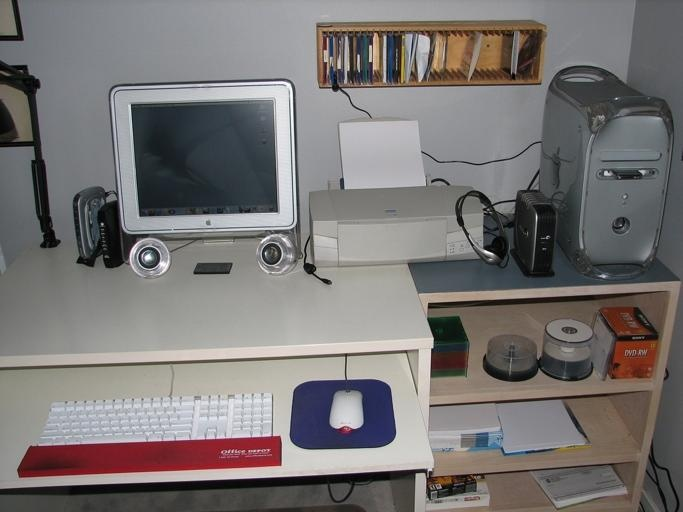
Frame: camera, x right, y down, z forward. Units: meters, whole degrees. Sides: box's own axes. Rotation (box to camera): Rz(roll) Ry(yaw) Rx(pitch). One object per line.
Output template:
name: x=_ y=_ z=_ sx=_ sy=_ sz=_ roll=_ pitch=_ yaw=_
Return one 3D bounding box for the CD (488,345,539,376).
CD: x=0.557 y=0.358 z=1.833 sx=0.096 sy=0.046 sz=0.101 roll=0 pitch=28 yaw=4

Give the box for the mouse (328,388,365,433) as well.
mouse: x=0.014 y=0.426 z=1.542 sx=0.093 sy=0.068 sz=0.125 roll=-3 pitch=20 yaw=3

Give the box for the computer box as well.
computer box: x=0.854 y=-0.276 z=1.844 sx=0.291 sy=0.567 sz=0.445 roll=-2 pitch=19 yaw=8

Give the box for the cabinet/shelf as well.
cabinet/shelf: x=0.309 y=-0.728 z=2.017 sx=0.805 sy=0.271 sz=0.158 roll=-4 pitch=19 yaw=0
